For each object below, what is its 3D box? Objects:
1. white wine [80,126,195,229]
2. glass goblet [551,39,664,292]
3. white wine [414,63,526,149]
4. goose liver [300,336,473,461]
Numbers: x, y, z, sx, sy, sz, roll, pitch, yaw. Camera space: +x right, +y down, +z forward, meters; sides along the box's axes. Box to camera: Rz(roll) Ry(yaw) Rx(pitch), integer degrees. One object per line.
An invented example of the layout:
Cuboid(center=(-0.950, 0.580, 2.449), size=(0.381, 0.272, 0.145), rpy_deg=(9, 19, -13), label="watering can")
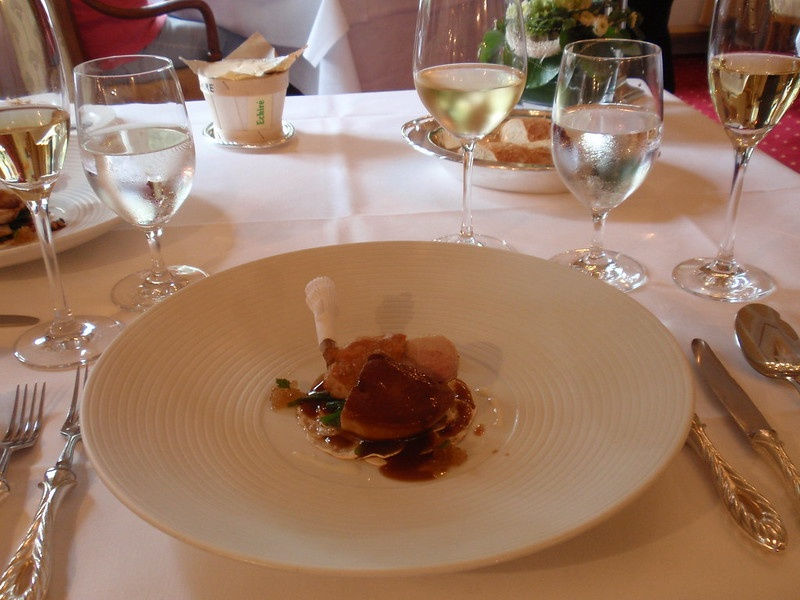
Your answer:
Cuboid(center=(-0.394, -0.200, 0.955), size=(0.122, 0.195, 0.121), rpy_deg=(18, 27, 36), label="white wine")
Cuboid(center=(0.341, -0.222, 1.029), size=(0.160, 0.364, 0.151), rpy_deg=(17, 32, 37), label="glass goblet")
Cuboid(center=(0.121, -0.334, 1.073), size=(0.190, 0.137, 0.114), rpy_deg=(0, 30, 2), label="white wine")
Cuboid(center=(-0.032, 0.098, 0.815), size=(0.223, 0.124, 0.179), rpy_deg=(-10, 22, -33), label="goose liver")
